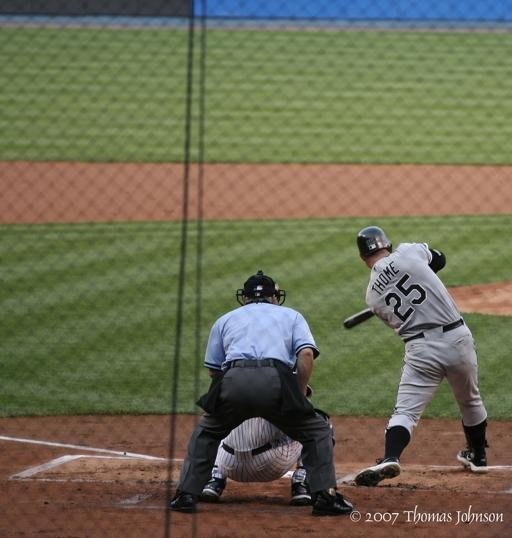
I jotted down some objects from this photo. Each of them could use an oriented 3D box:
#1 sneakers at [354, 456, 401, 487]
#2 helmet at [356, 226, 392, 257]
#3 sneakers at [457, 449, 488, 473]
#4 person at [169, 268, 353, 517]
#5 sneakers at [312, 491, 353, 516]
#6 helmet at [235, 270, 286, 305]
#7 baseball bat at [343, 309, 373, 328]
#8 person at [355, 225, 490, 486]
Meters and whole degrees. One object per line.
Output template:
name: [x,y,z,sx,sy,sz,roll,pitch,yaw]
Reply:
sneakers: [0.856,1.435,7.328,0.387,0.132,0.156,-21,26,0]
helmet: [0.886,-0.211,7.971,0.216,0.197,0.271,-26,8,17]
sneakers: [1.644,1.463,7.858,0.121,0.115,0.286,-1,12,-17]
person: [0.011,0.884,7.252,1.250,1.535,0.858,-1,16,-3]
sneakers: [0.584,1.616,7.150,0.349,0.135,0.131,2,1,-29]
helmet: [0.024,0.149,7.580,0.293,0.191,0.346,0,-2,7]
baseball bat: [0.804,0.406,8.211,0.090,0.091,0.344,-38,8,-40]
person: [1.253,0.692,7.659,1.045,1.895,1.294,1,15,4]
